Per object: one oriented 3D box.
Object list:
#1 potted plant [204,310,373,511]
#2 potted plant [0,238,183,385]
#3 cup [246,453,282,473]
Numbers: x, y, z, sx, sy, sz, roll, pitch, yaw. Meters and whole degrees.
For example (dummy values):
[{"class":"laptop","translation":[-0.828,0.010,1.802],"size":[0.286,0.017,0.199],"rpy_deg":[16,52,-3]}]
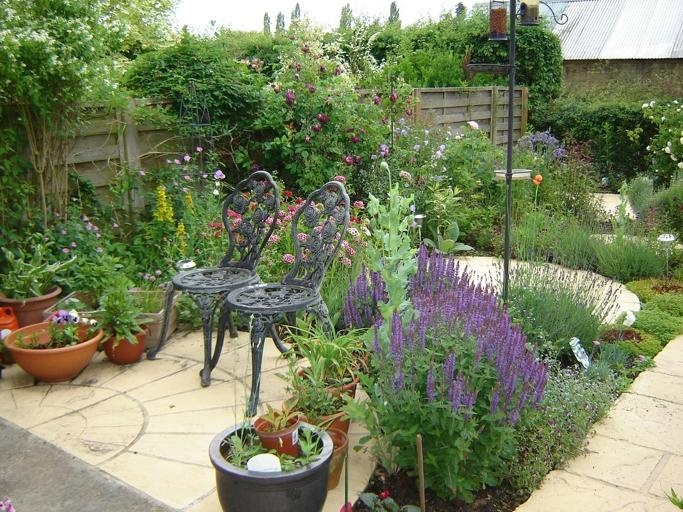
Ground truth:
[{"class":"potted plant","translation":[-0.295,0.942,3.527],"size":[0.878,0.732,0.969],"rpy_deg":[0,0,-3]},{"class":"potted plant","translation":[-2.101,0.500,4.097],"size":[1.058,0.572,0.865],"rpy_deg":[23,21,30]},{"class":"cup","translation":[-0.346,0.907,2.423],"size":[0.152,0.072,0.108],"rpy_deg":[-2,13,-11]}]
